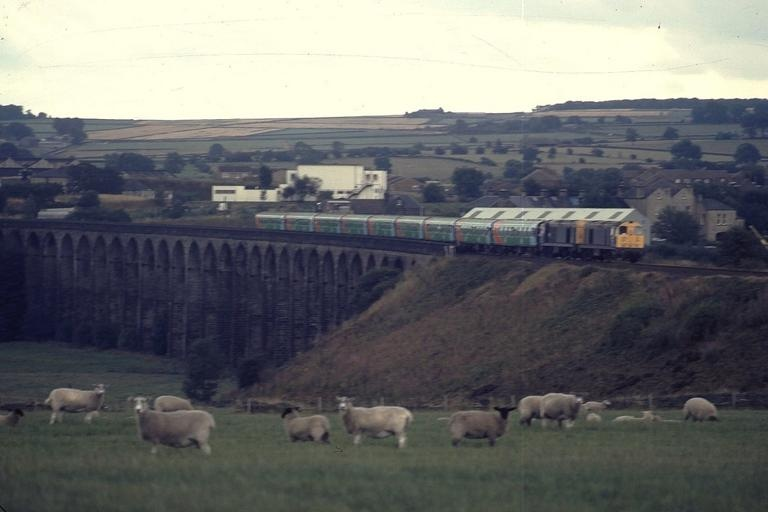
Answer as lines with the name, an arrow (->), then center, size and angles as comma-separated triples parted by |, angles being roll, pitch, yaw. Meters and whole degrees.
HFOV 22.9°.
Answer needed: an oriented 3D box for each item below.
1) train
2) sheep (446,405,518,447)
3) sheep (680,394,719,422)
train -> 3.932, -0.755, 97.135 | 26.503, 1.922, 2.098 | 4, 7, 30
sheep -> 4.058, 7.333, 80.240 | 3.641, 1.579, 1.374 | -1, -1, 2
sheep -> 13.604, 6.820, 81.575 | 1.444, 0.960, 0.528 | 1, -10, 5
